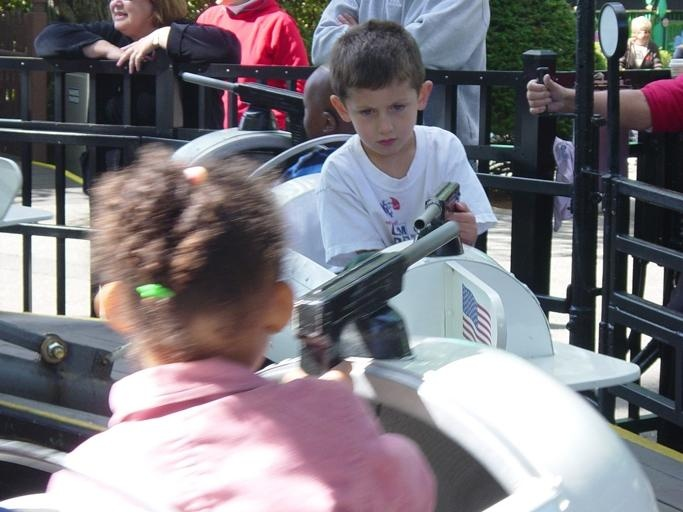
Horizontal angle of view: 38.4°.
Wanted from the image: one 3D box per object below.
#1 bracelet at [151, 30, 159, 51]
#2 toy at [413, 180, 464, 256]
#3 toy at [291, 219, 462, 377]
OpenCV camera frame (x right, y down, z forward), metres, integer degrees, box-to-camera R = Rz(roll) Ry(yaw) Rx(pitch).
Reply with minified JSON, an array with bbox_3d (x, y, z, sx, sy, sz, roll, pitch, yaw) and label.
[{"bbox_3d":[-0.960,-1.092,5.089,0.039,0.057,0.056,0,-10,5],"label":"bracelet"},{"bbox_3d":[0.279,-0.129,2.723,0.075,0.210,0.343,3,33,19],"label":"toy"},{"bbox_3d":[0.099,0.118,2.465,0.405,0.254,0.082,-38,43,-17],"label":"toy"}]
